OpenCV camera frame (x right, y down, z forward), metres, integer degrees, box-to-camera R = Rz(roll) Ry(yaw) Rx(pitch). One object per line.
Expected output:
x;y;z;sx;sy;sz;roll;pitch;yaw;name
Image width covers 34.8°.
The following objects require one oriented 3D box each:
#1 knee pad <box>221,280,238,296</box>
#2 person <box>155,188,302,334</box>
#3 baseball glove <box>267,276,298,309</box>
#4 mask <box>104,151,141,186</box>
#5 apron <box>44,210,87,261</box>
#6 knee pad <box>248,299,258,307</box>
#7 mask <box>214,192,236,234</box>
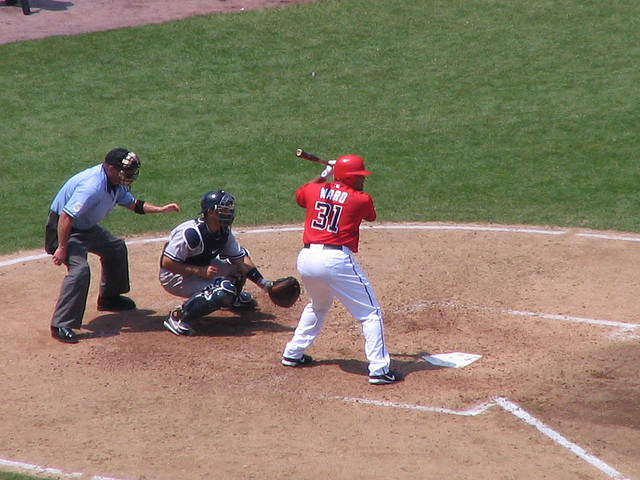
-1.169;0.611;13.097;0.243;0.071;0.155;25;8;5;knee pad
-1.134;0.276;13.288;2.044;1.281;1.101;2;17;-5;person
-0.450;0.670;12.943;0.422;0.309;0.382;-29;10;-25;baseball glove
-2.504;-0.889;12.993;0.425;0.477;0.202;-3;27;-9;mask
-3.265;-0.053;13.111;0.693;0.560;0.516;1;17;-12;apron
-0.901;0.853;13.788;0.109;0.048;0.093;8;24;19;knee pad
-1.179;-0.307;12.949;0.205;0.594;0.263;13;29;23;mask
